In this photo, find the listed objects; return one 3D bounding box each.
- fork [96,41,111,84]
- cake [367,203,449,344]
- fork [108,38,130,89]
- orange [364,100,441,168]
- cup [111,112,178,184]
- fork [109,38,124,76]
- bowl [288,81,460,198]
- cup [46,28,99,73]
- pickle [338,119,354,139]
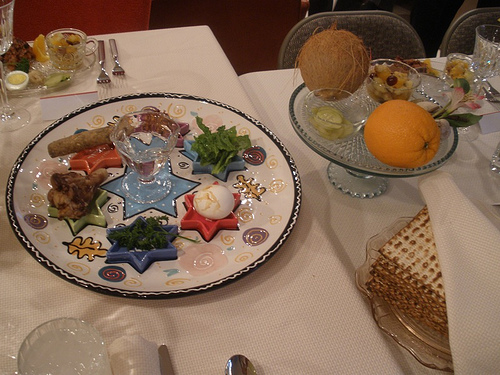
[{"bbox_3d":[-0.453,-0.378,1.213,0.040,0.024,0.213,-2,46,-14],"label":"fork"},{"bbox_3d":[0.310,0.169,0.793,0.136,0.088,0.267,0,63,-3],"label":"cake"},{"bbox_3d":[-0.413,-0.392,1.216,0.038,0.192,0.029,-11,73,-14],"label":"fork"},{"bbox_3d":[0.330,-0.125,0.910,0.140,0.149,0.145,0,17,3],"label":"orange"},{"bbox_3d":[-0.245,-0.060,0.929,0.103,0.112,0.120,-7,22,-32],"label":"cup"},{"bbox_3d":[-0.426,-0.411,1.233,0.034,0.019,0.215,-7,51,-9],"label":"fork"},{"bbox_3d":[0.264,-0.099,1.007,0.342,0.155,0.349,5,54,-7],"label":"bowl"},{"bbox_3d":[-0.554,-0.423,1.219,0.133,0.103,0.113,-19,47,-33],"label":"cup"},{"bbox_3d":[0.230,-0.135,0.938,0.037,0.025,0.042,2,76,18],"label":"pickle"}]
